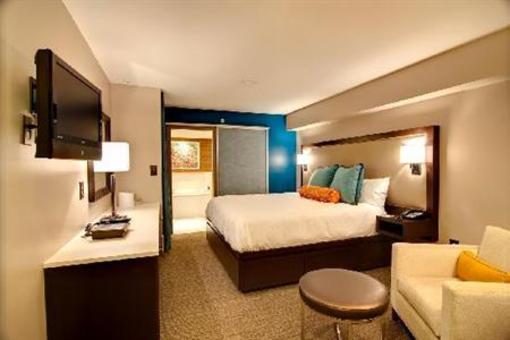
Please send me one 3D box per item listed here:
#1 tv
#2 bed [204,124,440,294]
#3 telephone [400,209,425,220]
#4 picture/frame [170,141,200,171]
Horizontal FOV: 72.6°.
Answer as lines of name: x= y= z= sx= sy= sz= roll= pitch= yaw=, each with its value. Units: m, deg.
tv: x=-1.704 y=-0.540 z=3.175 sx=0.300 sy=0.901 sz=0.780 roll=3 pitch=3 yaw=-3
bed: x=0.948 y=0.650 z=4.784 sx=2.393 sy=1.490 sz=2.369 roll=-2 pitch=3 yaw=-18
telephone: x=2.062 y=0.581 z=4.528 sx=0.327 sy=0.073 sz=0.229 roll=1 pitch=3 yaw=-39
picture/frame: x=-1.685 y=-0.349 z=8.217 sx=0.746 sy=0.624 sz=0.050 roll=1 pitch=-2 yaw=-26
